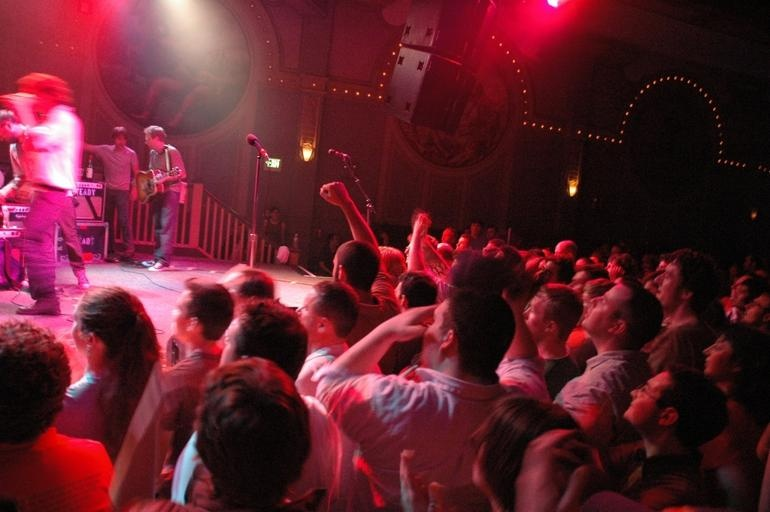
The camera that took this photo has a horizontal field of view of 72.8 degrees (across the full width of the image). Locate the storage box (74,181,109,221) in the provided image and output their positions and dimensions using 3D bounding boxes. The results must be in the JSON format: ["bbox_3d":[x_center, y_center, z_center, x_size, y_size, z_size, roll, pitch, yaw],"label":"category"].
[{"bbox_3d":[-3.928,-0.742,7.176,0.525,0.516,0.415,5,8,24],"label":"storage box"}]

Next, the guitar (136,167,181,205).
[{"bbox_3d":[-3.107,-1.013,7.040,0.159,0.459,0.758,3,21,22],"label":"guitar"}]

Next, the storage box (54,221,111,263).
[{"bbox_3d":[-3.573,-0.165,6.128,0.301,0.515,0.514,-2,-4,40],"label":"storage box"}]
